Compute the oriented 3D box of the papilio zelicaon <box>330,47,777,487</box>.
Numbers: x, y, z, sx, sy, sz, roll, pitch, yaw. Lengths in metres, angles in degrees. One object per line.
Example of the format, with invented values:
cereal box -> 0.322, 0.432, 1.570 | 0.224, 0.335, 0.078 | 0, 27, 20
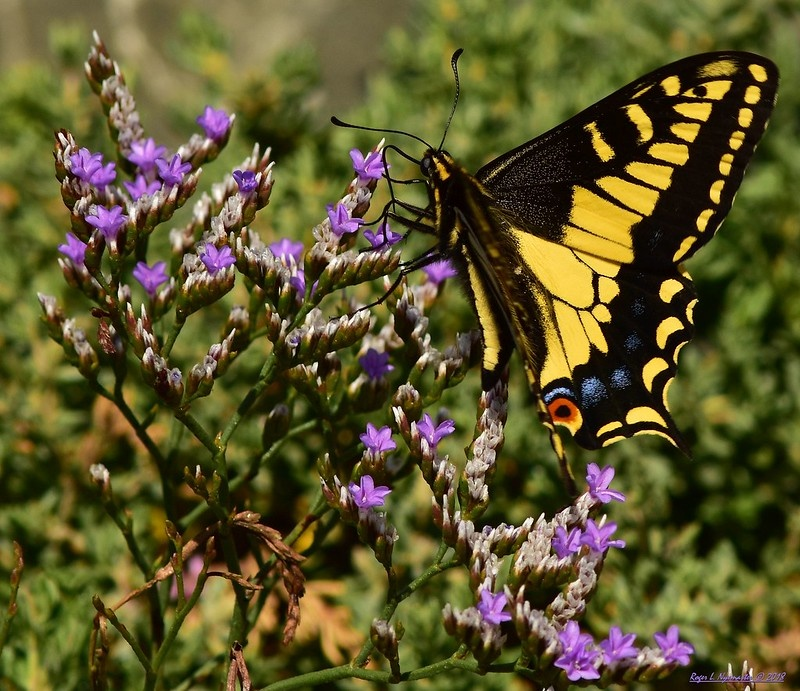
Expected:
papilio zelicaon -> 1.001, -0.357, 6.208 | 2.241, 1.609, 2.561 | -2, -65, 9
